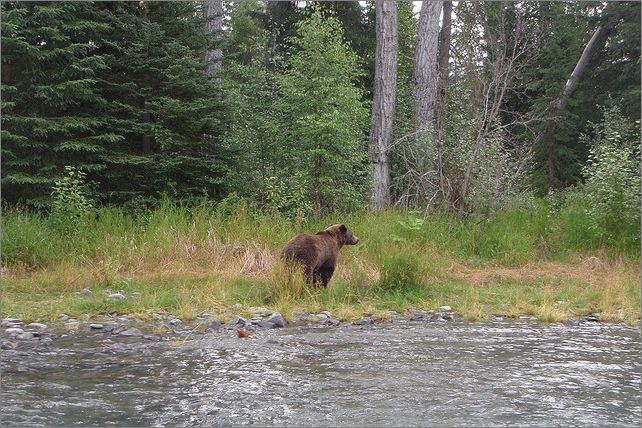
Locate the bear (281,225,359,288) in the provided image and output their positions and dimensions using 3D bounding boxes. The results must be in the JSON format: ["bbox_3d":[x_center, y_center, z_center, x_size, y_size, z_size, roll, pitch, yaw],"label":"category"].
[{"bbox_3d":[-0.092,1.102,18.760,0.973,1.593,2.495,10,11,35],"label":"bear"}]
